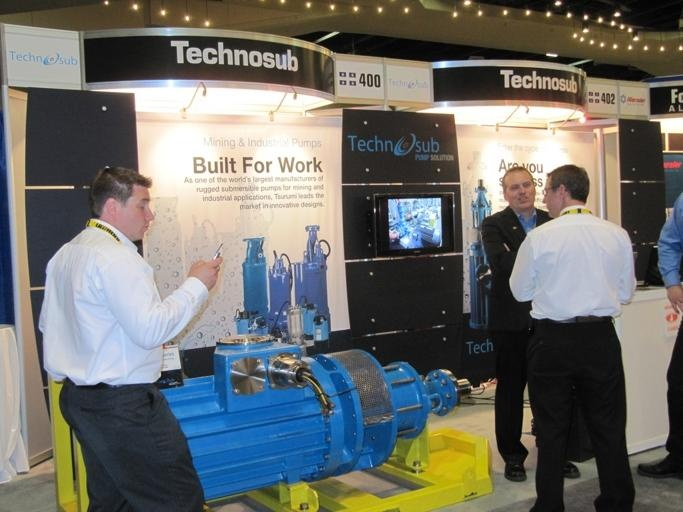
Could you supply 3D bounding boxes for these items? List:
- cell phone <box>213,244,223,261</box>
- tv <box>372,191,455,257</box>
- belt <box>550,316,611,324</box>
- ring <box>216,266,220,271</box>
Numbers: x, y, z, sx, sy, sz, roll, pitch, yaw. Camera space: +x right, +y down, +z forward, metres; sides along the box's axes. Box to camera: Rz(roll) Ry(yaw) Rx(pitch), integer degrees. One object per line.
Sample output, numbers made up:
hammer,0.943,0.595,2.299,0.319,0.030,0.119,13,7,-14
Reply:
cell phone,-0.818,-0.029,3.920,0.038,0.127,0.027,36,-9,-25
tv,0.648,-0.277,5.275,0.835,0.574,0.047,-3,1,-24
belt,1.275,0.334,3.114,0.331,0.044,0.070,-2,1,-6
ring,-0.552,0.058,2.667,0.017,0.017,0.018,1,5,0
